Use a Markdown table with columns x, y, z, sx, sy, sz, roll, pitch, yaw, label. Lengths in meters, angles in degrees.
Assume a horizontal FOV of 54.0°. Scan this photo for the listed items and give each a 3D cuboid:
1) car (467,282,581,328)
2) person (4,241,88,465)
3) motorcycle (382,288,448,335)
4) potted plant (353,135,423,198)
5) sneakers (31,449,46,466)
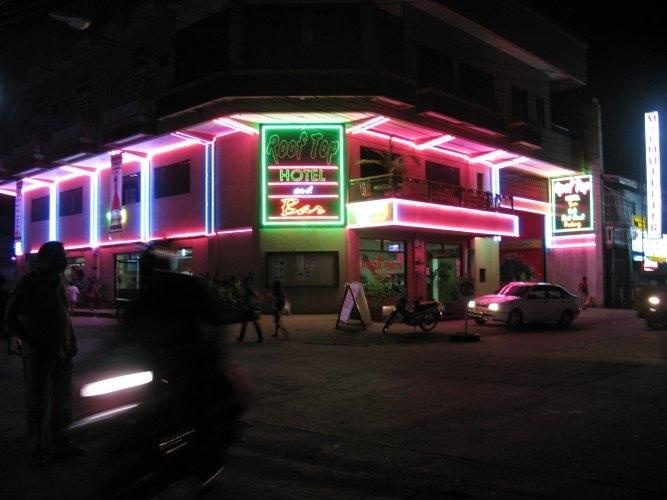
| x | y | z | sx | sy | sz | roll | pitch | yaw | label |
| --- | --- | --- | --- | --- | --- | --- | --- | --- | --- |
| 7.050 | 1.988 | 23.913 | 3.245 | 1.265 | 1.876 | 4 | -6 | -19 | car |
| -3.904 | 1.369 | 8.896 | 0.885 | 2.952 | 0.741 | -1 | 2 | -1 | person |
| 2.684 | 2.053 | 21.985 | 2.166 | 1.433 | 0.897 | -2 | 10 | -18 | motorcycle |
| 2.598 | -3.604 | 29.663 | 3.716 | 3.153 | 1.963 | -1 | 5 | -44 | potted plant |
| -3.927 | 2.767 | 8.763 | 0.198 | 0.236 | 0.116 | -1 | 2 | -12 | sneakers |
